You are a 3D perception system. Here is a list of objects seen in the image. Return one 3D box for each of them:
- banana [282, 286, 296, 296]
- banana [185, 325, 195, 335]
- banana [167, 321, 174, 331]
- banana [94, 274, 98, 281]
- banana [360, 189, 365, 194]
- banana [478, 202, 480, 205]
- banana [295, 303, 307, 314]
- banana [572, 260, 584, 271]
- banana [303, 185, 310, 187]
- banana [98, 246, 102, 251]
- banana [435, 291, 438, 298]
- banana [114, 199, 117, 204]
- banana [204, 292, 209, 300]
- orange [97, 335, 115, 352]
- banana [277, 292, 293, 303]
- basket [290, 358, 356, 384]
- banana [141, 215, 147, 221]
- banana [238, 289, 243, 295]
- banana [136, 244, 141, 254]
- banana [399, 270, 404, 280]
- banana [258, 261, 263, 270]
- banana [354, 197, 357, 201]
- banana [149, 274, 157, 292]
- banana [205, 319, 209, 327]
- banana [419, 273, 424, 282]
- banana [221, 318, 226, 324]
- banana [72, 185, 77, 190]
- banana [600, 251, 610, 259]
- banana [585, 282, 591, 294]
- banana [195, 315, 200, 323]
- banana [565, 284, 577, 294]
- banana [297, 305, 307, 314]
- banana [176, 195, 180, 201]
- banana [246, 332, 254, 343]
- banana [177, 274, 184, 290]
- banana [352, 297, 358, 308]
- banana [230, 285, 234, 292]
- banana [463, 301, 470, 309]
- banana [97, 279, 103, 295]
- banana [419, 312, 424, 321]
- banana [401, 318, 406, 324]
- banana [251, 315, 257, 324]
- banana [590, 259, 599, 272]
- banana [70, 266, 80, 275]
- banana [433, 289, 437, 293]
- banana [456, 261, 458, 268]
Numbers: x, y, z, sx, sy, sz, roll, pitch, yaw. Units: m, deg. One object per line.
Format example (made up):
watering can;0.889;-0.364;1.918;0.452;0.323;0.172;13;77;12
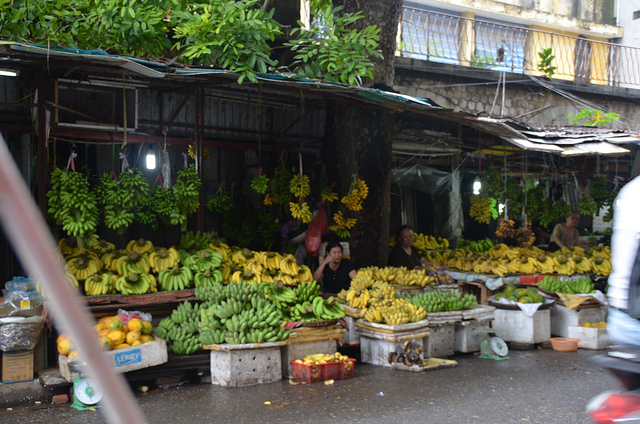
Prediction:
banana;-0.490;1.214;10.488;0.180;0.064;0.037;34;24;15
banana;-1.910;1.722;9.968;0.071;0.138;0.044;-39;7;15
banana;-2.213;1.676;10.074;0.021;0.084;0.083;27;-39;-1
banana;-3.322;0.953;10.086;0.063;0.066;0.017;-2;-6;-38
banana;0.773;-0.384;12.484;0.073;0.079;0.049;1;8;37
banana;3.240;-0.188;13.879;0.040;0.032;0.023;1;5;4
banana;-0.284;1.447;10.268;0.090;0.175;0.057;-33;-9;-28
banana;4.990;1.044;13.148;0.081;0.249;0.060;-39;-6;-43
banana;-0.242;-0.474;12.101;0.054;0.049;0.171;-1;8;26
banana;-3.472;0.567;10.698;0.047;0.049;0.011;-19;-1;-33
banana;1.933;1.367;11.300;0.015;0.063;0.044;3;-22;-37
banana;-3.036;-0.167;10.091;0.042;0.059;0.022;-5;7;-3
banana;-1.699;1.245;10.183;0.070;0.122;0.039;-3;7;5
orange;-2.910;1.779;9.260;0.186;0.202;0.299;-6;7;-15
banana;-0.539;1.314;10.409;0.241;0.149;0.105;-3;7;10
basket;0.047;2.312;9.925;0.581;0.206;0.395;-3;2;-28
banana;-2.739;0.076;10.554;0.094;0.021;0.027;-39;20;-10
banana;-1.176;1.166;9.996;0.072;0.079;0.029;-4;7;5
banana;-2.867;0.578;10.704;0.068;0.124;0.038;-11;-27;6
banana;1.452;1.103;12.086;0.074;0.118;0.029;-29;-30;28
banana;-0.964;0.854;10.962;0.037;0.142;0.051;12;-54;-37
banana;0.644;-0.245;12.402;0.037;0.039;0.039;-5;-37;10
banana;-2.514;1.070;10.279;0.071;0.287;0.091;-17;10;-2
banana;-1.641;1.605;9.856;0.053;0.074;0.040;-13;-9;11
banana;1.799;1.147;12.071;0.072;0.120;0.129;-2;7;16
banana;-1.401;1.581;9.884;0.090;0.091;0.041;1;8;35
banana;-3.548;-0.366;9.820;0.064;0.064;0.014;-9;9;-35
banana;5.721;0.853;13.632;0.051;0.063;0.233;21;24;-15
banana;4.683;1.314;11.885;0.167;0.145;0.082;-8;8;-31
banana;-1.828;1.574;10.062;0.067;0.069;0.073;1;9;37
banana;4.411;1.352;11.995;0.055;0.065;0.242;4;38;-45
banana;-0.270;1.473;10.270;0.137;0.149;0.094;-5;7;-7
banana;-2.209;-0.230;10.539;0.072;0.069;0.019;-7;11;-28
banana;-1.000;1.798;9.777;0.072;0.138;0.044;-23;8;34
banana;-2.132;1.066;10.379;0.059;0.265;0.077;-27;-8;39
banana;0.558;1.464;11.077;0.039;0.160;0.041;8;-12;19
banana;-1.304;1.122;10.062;0.055;0.082;0.102;-9;8;-34
banana;2.425;1.534;11.270;0.109;0.128;0.038;-4;7;1
banana;-3.228;1.100;9.981;0.063;0.196;0.045;3;-12;15
banana;1.604;1.624;10.715;0.035;0.120;0.090;1;8;35
banana;1.279;1.675;10.493;0.039;0.081;0.025;13;1;-21
banana;-0.955;1.536;9.835;0.051;0.095;0.045;36;6;24
banana;5.334;1.023;13.244;0.078;0.253;0.068;-17;-22;-8
banana;-3.600;0.852;10.005;0.052;0.102;0.136;2;9;42
banana;1.980;1.359;11.777;0.052;0.055;0.015;-42;-13;37
banana;2.778;1.059;13.798;0.049;0.144;0.038;4;3;41
